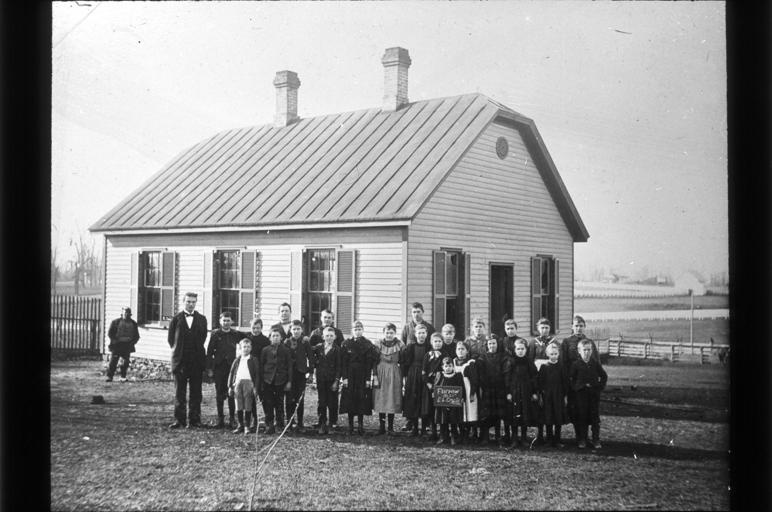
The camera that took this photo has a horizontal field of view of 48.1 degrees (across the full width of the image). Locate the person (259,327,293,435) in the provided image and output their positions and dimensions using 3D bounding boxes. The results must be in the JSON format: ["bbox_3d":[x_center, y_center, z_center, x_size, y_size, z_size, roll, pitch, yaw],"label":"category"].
[{"bbox_3d":[-2.044,2.306,16.015,0.579,1.941,0.449,-5,12,-22],"label":"person"}]

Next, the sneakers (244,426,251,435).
[{"bbox_3d":[-2.583,3.271,16.163,0.082,0.112,0.239,3,-15,-16],"label":"sneakers"}]

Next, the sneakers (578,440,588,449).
[{"bbox_3d":[3.512,3.386,15.474,0.146,0.129,0.085,3,12,15],"label":"sneakers"}]

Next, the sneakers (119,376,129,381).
[{"bbox_3d":[-5.925,2.803,19.667,0.116,0.098,0.120,-4,-7,38],"label":"sneakers"}]

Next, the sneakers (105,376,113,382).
[{"bbox_3d":[-6.258,2.815,19.633,0.076,0.124,0.165,4,-9,-40],"label":"sneakers"}]

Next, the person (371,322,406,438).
[{"bbox_3d":[0.067,2.325,16.136,0.534,2.130,0.589,0,11,1],"label":"person"}]

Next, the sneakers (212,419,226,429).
[{"bbox_3d":[-3.172,3.235,16.583,0.220,0.244,0.210,-4,-9,34],"label":"sneakers"}]

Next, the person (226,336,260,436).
[{"bbox_3d":[-2.609,2.437,15.997,0.562,1.873,0.679,-3,11,-12],"label":"person"}]

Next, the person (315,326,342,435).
[{"bbox_3d":[-1.066,2.327,16.178,0.485,1.946,0.528,-1,11,-4],"label":"person"}]

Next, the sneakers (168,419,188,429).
[{"bbox_3d":[-3.948,3.210,16.484,0.271,0.138,0.160,-3,1,13],"label":"sneakers"}]

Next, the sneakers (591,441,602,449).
[{"bbox_3d":[3.759,3.390,15.474,0.072,0.155,0.234,2,-16,-18],"label":"sneakers"}]

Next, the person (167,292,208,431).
[{"bbox_3d":[-3.745,1.993,16.394,0.746,2.658,0.707,-3,11,-11],"label":"person"}]

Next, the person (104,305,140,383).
[{"bbox_3d":[-6.025,2.028,19.818,0.768,1.637,1.095,-2,12,-10],"label":"person"}]
